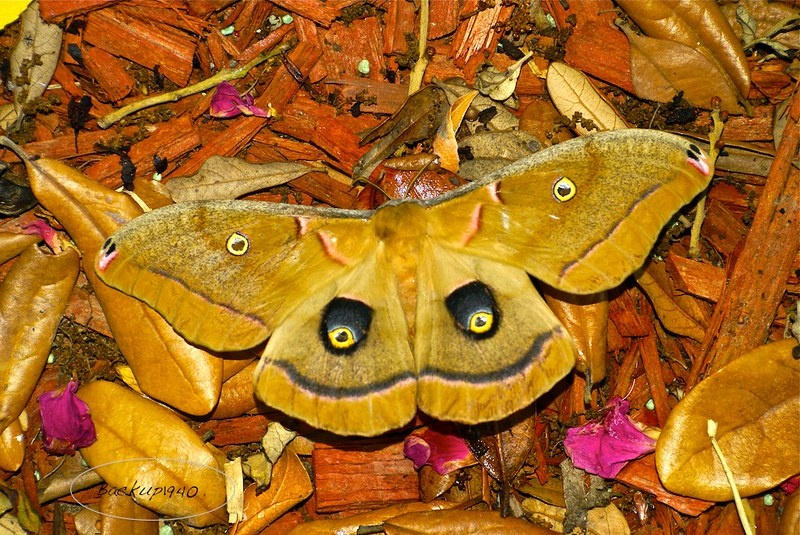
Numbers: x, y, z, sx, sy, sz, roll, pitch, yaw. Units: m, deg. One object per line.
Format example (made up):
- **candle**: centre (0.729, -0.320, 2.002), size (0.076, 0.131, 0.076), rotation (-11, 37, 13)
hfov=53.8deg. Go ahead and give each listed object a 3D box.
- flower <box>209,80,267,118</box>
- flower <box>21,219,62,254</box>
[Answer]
- **flower**: centre (-1.064, -1.095, 5.356), size (0.365, 0.211, 0.191), rotation (13, -37, 3)
- **flower**: centre (-2.294, -0.216, 5.086), size (0.166, 0.285, 0.070), rotation (-34, -12, -12)
